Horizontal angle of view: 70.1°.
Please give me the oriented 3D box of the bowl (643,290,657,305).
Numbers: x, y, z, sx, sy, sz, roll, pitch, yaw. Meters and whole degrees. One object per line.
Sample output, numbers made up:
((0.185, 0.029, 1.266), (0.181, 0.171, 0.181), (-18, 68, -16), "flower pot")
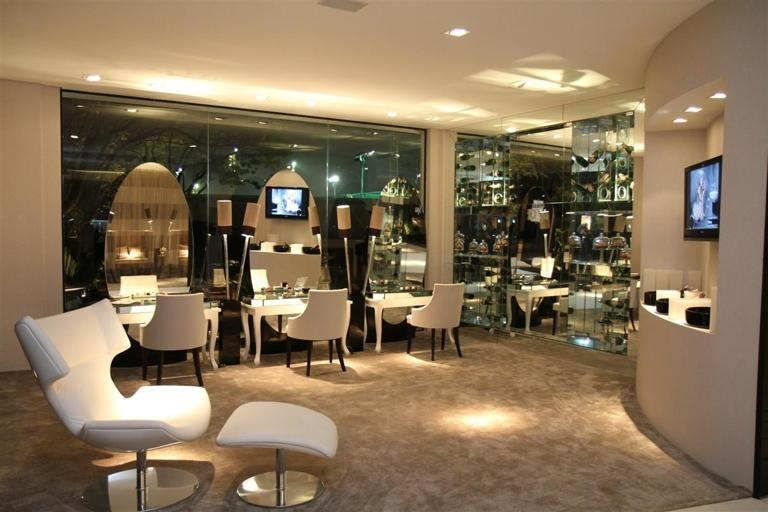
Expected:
((3.040, 0.478, 6.262), (0.144, 0.099, 0.142), (0, 1, 0), "bowl")

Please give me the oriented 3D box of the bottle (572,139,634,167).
((2.934, -1.362, 7.402), (0.062, 0.316, 0.814), (-10, 14, -44), "bottle")

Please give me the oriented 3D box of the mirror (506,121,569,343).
((2.308, -0.397, 8.315), (0.408, 3.114, 1.275), (-5, 12, -28), "mirror")

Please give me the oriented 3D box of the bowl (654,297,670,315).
((2.936, 0.533, 5.781), (0.143, 0.103, 0.144), (0, 3, 0), "bowl")

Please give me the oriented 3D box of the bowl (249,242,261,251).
((-1.964, -0.145, 8.340), (0.163, 0.106, 0.084), (0, 0, -28), "bowl")

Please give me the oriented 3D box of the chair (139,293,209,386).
((-2.656, 1.033, 7.132), (1.086, 1.510, 1.050), (0, -1, -26), "chair")

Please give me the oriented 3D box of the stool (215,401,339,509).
((-0.886, 1.684, 4.666), (0.762, 0.602, 0.902), (2, -4, -6), "stool")

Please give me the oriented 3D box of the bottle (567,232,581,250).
((2.671, -0.220, 7.691), (0.019, 0.231, 0.213), (-6, 12, -33), "bottle")

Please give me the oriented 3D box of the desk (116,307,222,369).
((-2.981, 1.262, 7.534), (1.334, 0.823, 0.890), (-1, 1, -28), "desk")

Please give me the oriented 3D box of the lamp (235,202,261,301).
((-2.055, -0.092, 8.207), (0.268, 1.402, 0.530), (2, 10, 12), "lamp")

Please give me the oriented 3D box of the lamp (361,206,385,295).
((-0.174, -0.137, 9.067), (0.296, 1.388, 0.604), (4, 11, 18), "lamp")

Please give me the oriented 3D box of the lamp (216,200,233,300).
((-2.315, -0.136, 8.006), (0.250, 1.352, 0.594), (-3, 11, -16), "lamp")

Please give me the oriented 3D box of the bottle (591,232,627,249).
((3.010, -0.194, 7.305), (0.057, 0.234, 0.469), (-7, 12, -36), "bottle")

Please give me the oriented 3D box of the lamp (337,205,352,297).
((-0.647, -0.148, 8.840), (0.246, 1.363, 0.447), (-1, 10, -5), "lamp")

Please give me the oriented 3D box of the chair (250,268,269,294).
((-1.906, 0.389, 8.353), (0.322, 0.395, 0.321), (0, 0, -36), "chair")

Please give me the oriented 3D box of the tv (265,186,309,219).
((-1.548, -0.846, 8.528), (0.540, 0.370, 0.048), (0, 5, -18), "tv")

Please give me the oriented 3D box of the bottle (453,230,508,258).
((1.627, -0.214, 9.169), (0.048, 0.463, 1.174), (-8, 13, -38), "bottle")
